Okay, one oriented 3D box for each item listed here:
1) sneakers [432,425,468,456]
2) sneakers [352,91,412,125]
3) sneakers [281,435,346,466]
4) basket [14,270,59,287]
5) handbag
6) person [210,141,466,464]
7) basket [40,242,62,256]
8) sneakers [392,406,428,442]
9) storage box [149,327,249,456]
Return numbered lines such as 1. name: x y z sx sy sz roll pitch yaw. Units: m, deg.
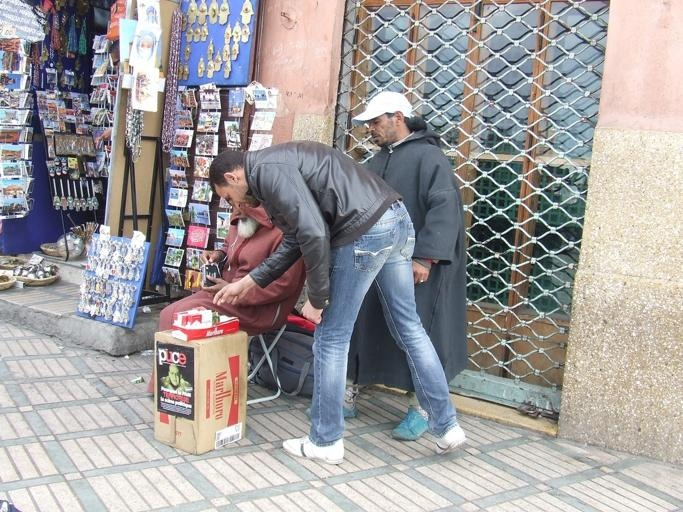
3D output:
1. sneakers: 0.647 1.184 3.708 0.114 0.139 0.308 -29 -11 -29
2. sneakers: 0.283 -0.996 3.922 0.321 0.155 0.207 -1 11 -9
3. sneakers: -0.165 1.189 3.638 0.389 0.153 0.148 9 0 24
4. basket: -3.121 0.250 6.013 0.164 0.103 0.447 14 15 38
5. handbag: -0.398 0.765 4.546 0.582 0.594 0.416 -7 -1 26
6. person: -0.034 0.305 3.476 1.532 1.911 0.590 2 13 -11
7. basket: -3.495 -0.074 7.002 0.224 0.066 0.222 9 11 34
8. sneakers: 0.464 1.140 3.922 0.150 0.124 0.282 5 13 33
9. storage box: -0.890 0.828 3.690 0.508 0.632 0.499 -3 -6 44
